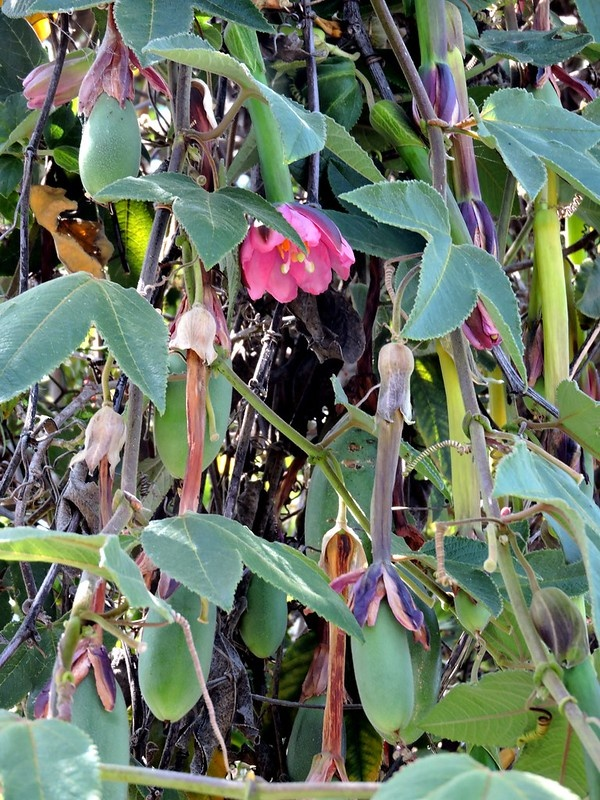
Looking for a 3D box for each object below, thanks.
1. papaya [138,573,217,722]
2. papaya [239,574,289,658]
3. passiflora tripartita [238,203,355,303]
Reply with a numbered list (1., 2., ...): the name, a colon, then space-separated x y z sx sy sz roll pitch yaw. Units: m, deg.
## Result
1. papaya: -0.074 0.168 0.607 0.043 0.110 0.057 5 -12 -3
2. papaya: -0.034 0.219 0.918 0.039 0.098 0.048 2 4 -3
3. passiflora tripartita: -0.003 -0.115 0.745 0.067 0.105 0.082 -5 14 -23
